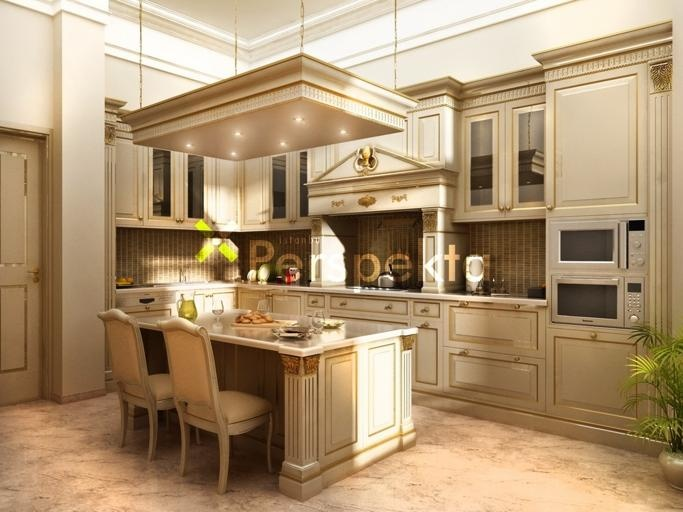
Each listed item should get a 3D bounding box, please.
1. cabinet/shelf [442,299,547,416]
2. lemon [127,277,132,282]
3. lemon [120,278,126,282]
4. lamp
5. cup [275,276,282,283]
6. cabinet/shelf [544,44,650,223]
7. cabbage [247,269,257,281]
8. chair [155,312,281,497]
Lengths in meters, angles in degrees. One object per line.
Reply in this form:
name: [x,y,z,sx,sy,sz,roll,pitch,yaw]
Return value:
cabinet/shelf: [1.534,0.989,5.014,1.119,1.048,0.556,-4,-9,37]
lemon: [-2.711,0.297,6.587,0.059,0.049,0.058,2,-1,6]
lemon: [-2.741,0.296,6.456,0.054,0.028,0.053,3,5,9]
lamp: [-0.589,-1.200,4.328,2.153,0.591,1.127,5,8,33]
cup: [-0.882,0.328,7.210,0.087,0.079,0.085,1,-5,0]
cabinet/shelf: [2.248,-1.007,4.563,0.856,1.313,0.272,4,8,24]
cabbage: [-1.286,0.274,7.434,0.102,0.161,0.127,11,-15,-22]
chair: [-0.965,1.060,3.871,0.801,1.232,0.466,3,8,18]
